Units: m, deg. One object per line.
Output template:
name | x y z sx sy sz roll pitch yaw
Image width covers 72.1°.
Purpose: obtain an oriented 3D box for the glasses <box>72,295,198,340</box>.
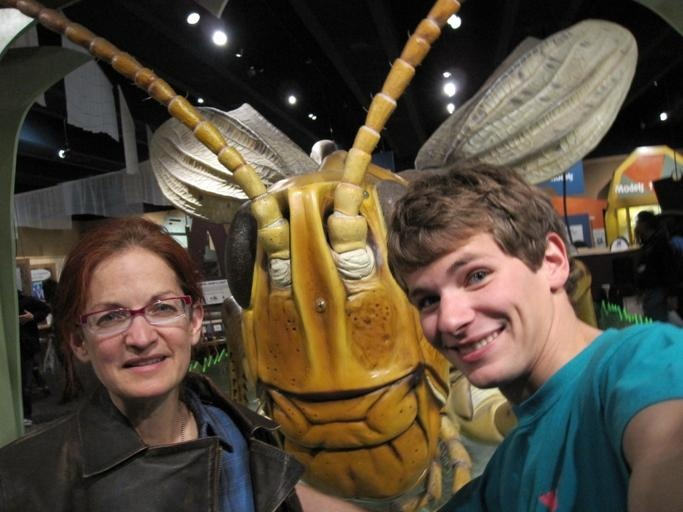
glasses | -0.625 0.185 1.419 0.311 0.104 0.093 -3 -9 -30
